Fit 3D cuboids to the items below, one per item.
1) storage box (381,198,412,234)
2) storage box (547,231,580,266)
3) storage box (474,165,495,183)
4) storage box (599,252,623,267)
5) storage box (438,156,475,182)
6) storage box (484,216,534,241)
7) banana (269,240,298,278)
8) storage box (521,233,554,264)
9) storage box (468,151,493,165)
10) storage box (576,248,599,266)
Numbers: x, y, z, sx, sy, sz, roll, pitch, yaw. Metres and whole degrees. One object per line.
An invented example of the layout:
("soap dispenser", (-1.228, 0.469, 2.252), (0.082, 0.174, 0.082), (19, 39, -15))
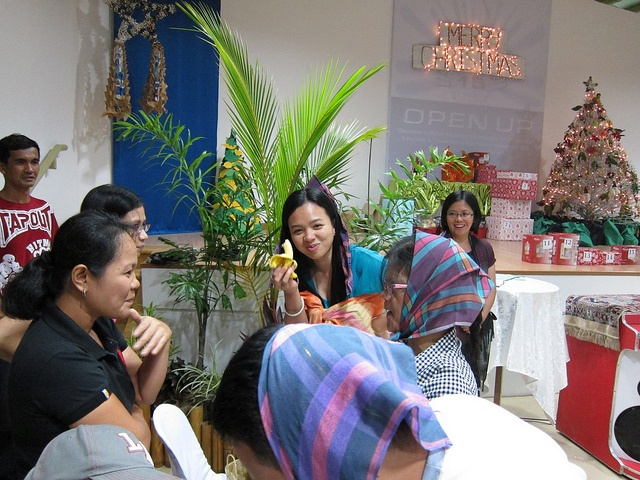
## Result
("storage box", (0.562, -0.244, 3.522), (0.198, 0.237, 0.377), (-6, -35, 2))
("storage box", (2.265, 0.085, 4.479), (0.193, 0.271, 0.229), (3, -1, 25))
("storage box", (2.272, -0.917, 6.700), (0.080, 0.247, 0.259), (3, -5, -21))
("storage box", (2.734, 0.163, 4.578), (0.257, 0.123, 0.076), (0, 4, -35))
("storage box", (1.846, -0.969, 6.545), (0.431, 0.407, 0.900), (4, 4, 18))
("storage box", (2.522, -0.150, 6.506), (0.373, 0.253, 0.374), (-1, 3, -34))
("banana", (-0.166, 0.078, 2.288), (0.104, 0.159, 0.104), (9, 1, 10))
("storage box", (1.949, 0.056, 4.475), (0.295, 0.341, 0.231), (0, 2, 3))
("storage box", (2.291, -1.183, 7.004), (0.296, 0.210, 0.213), (0, -5, 4))
("storage box", (2.459, 0.148, 4.476), (0.155, 0.114, 0.165), (3, 9, 13))
